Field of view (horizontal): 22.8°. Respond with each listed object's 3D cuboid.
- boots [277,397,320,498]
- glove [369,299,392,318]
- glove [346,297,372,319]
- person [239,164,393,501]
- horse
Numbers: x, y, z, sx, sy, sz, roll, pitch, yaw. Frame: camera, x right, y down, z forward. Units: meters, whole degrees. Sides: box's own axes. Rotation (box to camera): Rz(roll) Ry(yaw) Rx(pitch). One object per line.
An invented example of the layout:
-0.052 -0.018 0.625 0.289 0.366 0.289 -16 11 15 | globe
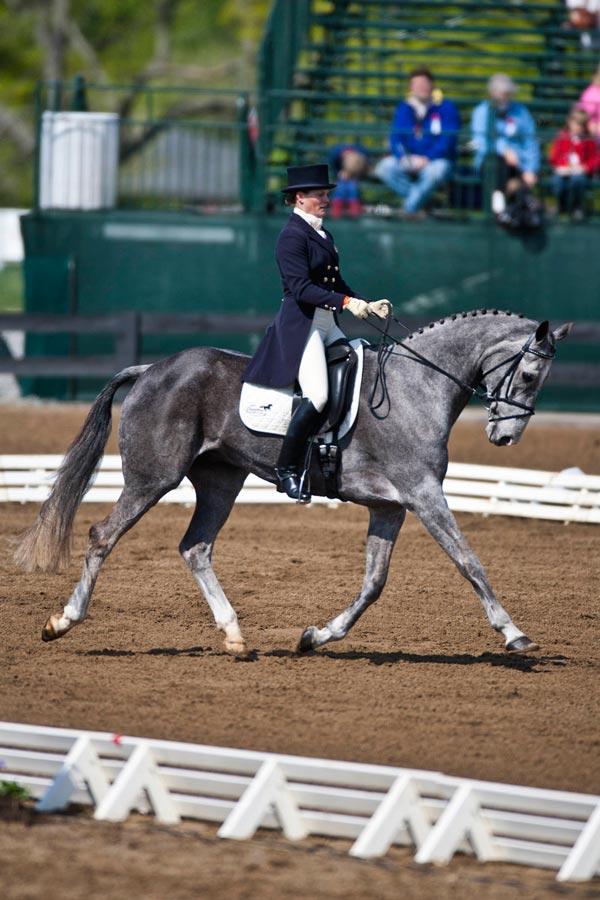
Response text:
-0.030 -0.009 6.729 0.134 0.471 0.283 -7 12 -38 | boots
0.350 -0.629 6.610 0.097 0.075 0.042 9 -25 -32 | glove
0.258 -0.624 6.583 0.121 0.097 0.274 1 9 2 | glove
0.062 -0.533 6.757 0.596 1.520 0.536 1 10 7 | person
-0.070 0.178 6.960 2.696 1.621 0.643 -1 -4 19 | horse
